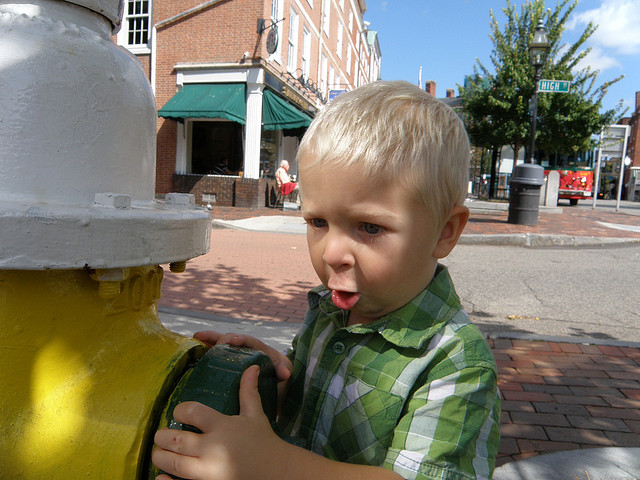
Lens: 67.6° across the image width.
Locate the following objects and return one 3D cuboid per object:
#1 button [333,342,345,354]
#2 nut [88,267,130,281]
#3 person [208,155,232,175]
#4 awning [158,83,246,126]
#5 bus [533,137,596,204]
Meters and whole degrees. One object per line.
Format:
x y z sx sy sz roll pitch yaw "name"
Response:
0.051 0.298 1.321 0.027 0.030 0.007 -2 -13 20 "button"
-0.501 0.081 1.150 0.089 0.034 0.067 2 8 -20 "nut"
-3.464 -2.635 16.969 0.789 0.827 0.672 -7 10 -30 "person"
-3.622 -4.408 15.097 2.385 1.166 1.396 7 12 25 "awning"
13.010 -3.714 26.598 4.676 2.480 1.675 1 1 -25 "bus"
